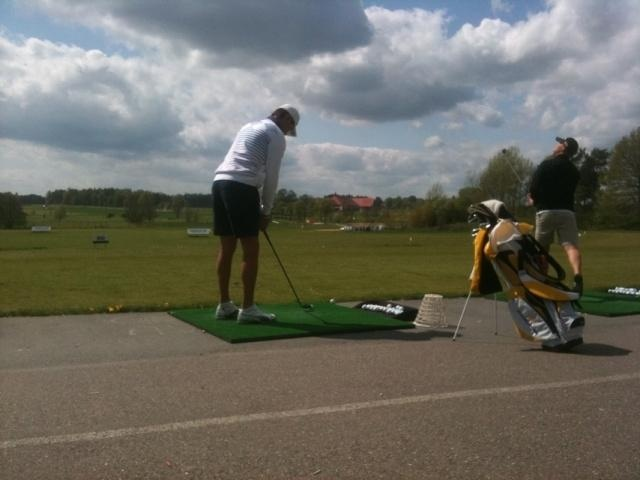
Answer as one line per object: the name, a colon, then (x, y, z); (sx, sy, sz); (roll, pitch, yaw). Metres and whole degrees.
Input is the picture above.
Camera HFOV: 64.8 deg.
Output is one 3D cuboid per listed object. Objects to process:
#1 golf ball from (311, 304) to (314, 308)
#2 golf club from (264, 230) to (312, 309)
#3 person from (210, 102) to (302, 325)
golf ball: (-0.112, 1.044, 7.959); (0.062, 0.057, 0.050); (0, 2, -8)
golf club: (-0.414, 0.773, 8.191); (0.192, 0.112, 1.106); (-11, 42, -28)
person: (-0.869, -0.438, 7.072); (1.211, 3.090, 0.851); (3, -1, -30)
